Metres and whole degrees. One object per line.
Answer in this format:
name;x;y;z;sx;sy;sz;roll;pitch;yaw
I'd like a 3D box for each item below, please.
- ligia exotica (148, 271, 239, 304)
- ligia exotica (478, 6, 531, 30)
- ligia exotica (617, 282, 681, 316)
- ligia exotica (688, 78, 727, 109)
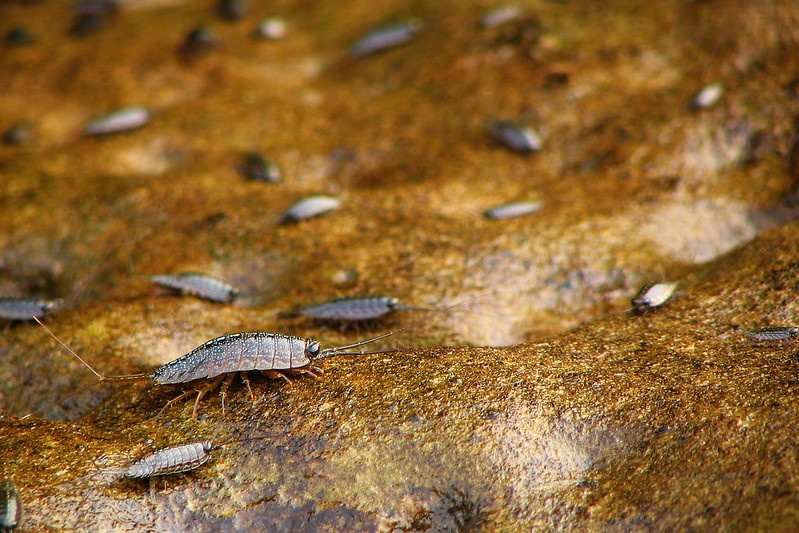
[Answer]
ligia exotica;-1.580;0.161;8.205;0.757;0.231;0.182;7;72;-7
ligia exotica;0.839;-2.075;8.611;0.360;0.080;0.131;-16;54;-6
ligia exotica;1.979;0.246;8.153;0.450;0.098;0.191;-31;57;-16
ligia exotica;2.484;-1.373;8.385;0.264;0.113;0.146;-32;57;-16
